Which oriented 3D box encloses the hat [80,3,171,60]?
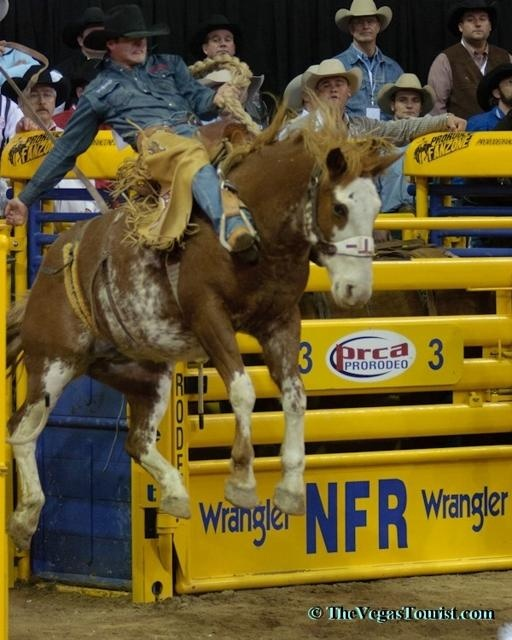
[{"bbox_3d":[-0.744,-1.406,5.684,0.488,0.150,0.374,-8,16,31],"label":"hat"}]

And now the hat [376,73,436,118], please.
[{"bbox_3d":[1.026,-1.558,7.986,0.367,0.139,0.380,2,-23,0],"label":"hat"}]

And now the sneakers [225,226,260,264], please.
[{"bbox_3d":[-0.050,-0.310,4.632,0.115,0.154,0.054,-17,-28,-16],"label":"sneakers"}]

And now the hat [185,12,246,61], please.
[{"bbox_3d":[-0.250,-1.830,7.663,0.405,0.147,0.438,3,-13,-3],"label":"hat"}]

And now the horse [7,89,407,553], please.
[{"bbox_3d":[-0.246,0.055,5.029,1.863,1.882,0.704,-4,10,9],"label":"horse"}]
